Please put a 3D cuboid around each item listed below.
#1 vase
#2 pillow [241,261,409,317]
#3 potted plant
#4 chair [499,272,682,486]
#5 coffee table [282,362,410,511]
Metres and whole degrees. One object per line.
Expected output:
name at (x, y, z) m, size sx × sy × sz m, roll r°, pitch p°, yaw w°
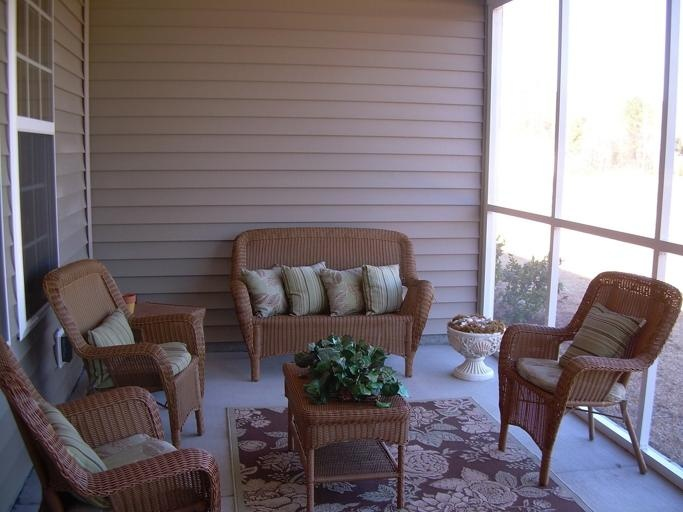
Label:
vase at (1.243, 0.907, 4.882) m, size 0.517 × 0.425 × 0.516 m, roll 5°, pitch 0°, yaw -44°
pillow at (-0.165, 0.308, 4.795) m, size 1.507 × 0.434 × 0.424 m, roll -1°, pitch 11°, yaw -10°
potted plant at (0.076, 0.690, 3.049) m, size 0.446 × 0.168 × 0.459 m, roll 4°, pitch 9°, yaw -9°
chair at (1.662, 0.826, 3.976) m, size 1.256 × 1.748 × 1.342 m, roll 0°, pitch 2°, yaw -15°
coffee table at (0.015, 1.073, 3.175) m, size 0.625 × 0.614 × 0.746 m, roll -2°, pitch 11°, yaw -14°
